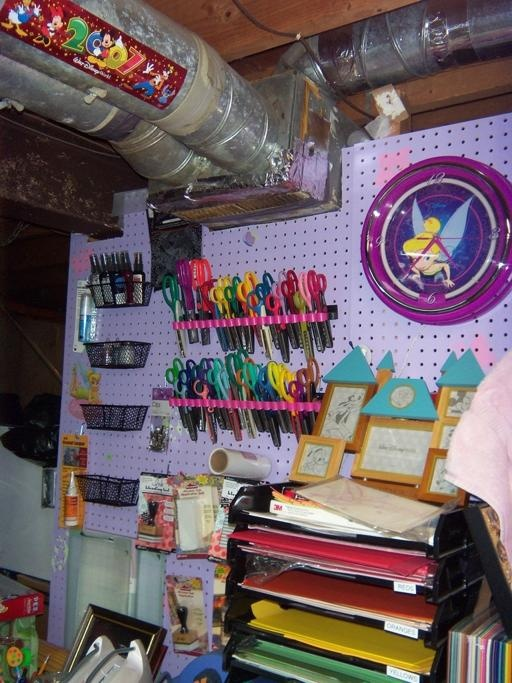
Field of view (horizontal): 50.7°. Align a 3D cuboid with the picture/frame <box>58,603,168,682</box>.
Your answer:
[{"bbox_3d":[-0.460,1.010,1.809,0.347,0.156,0.157,3,-4,16],"label":"picture/frame"}]

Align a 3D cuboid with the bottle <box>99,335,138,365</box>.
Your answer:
[{"bbox_3d":[-0.503,0.046,1.987,0.151,0.091,0.043,2,-4,31],"label":"bottle"}]

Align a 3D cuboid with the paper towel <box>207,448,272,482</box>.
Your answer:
[{"bbox_3d":[-0.036,0.360,1.559,0.075,0.117,0.238,1,-4,35],"label":"paper towel"}]

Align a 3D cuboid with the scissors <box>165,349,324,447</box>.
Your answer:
[{"bbox_3d":[-0.051,0.186,1.665,0.615,0.305,0.117,1,-4,38],"label":"scissors"}]

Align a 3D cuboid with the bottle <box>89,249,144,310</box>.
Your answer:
[{"bbox_3d":[-0.522,-0.231,2.044,0.216,0.193,0.105,-8,-7,37],"label":"bottle"}]

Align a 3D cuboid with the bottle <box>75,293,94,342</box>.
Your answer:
[{"bbox_3d":[-0.707,-0.096,2.236,0.085,0.200,0.041,1,-5,35],"label":"bottle"}]
